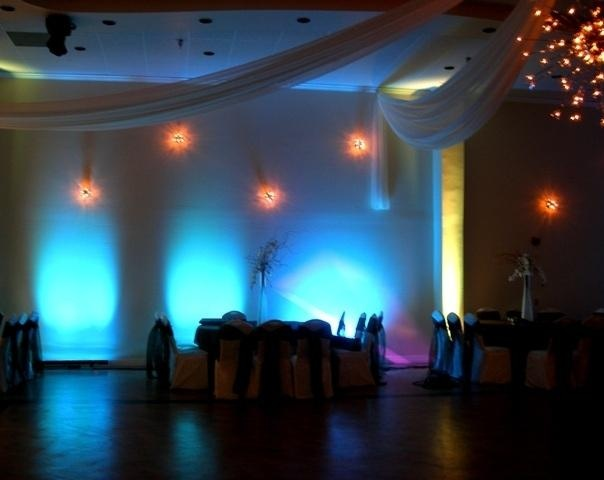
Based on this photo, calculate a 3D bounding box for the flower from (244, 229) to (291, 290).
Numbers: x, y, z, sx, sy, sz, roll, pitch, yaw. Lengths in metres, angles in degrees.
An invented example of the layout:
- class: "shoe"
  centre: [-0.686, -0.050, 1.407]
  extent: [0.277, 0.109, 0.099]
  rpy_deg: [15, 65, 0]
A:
- class: "flower"
  centre: [-0.618, 0.373, 9.751]
  extent: [0.767, 1.000, 0.269]
  rpy_deg: [0, 1, -4]
